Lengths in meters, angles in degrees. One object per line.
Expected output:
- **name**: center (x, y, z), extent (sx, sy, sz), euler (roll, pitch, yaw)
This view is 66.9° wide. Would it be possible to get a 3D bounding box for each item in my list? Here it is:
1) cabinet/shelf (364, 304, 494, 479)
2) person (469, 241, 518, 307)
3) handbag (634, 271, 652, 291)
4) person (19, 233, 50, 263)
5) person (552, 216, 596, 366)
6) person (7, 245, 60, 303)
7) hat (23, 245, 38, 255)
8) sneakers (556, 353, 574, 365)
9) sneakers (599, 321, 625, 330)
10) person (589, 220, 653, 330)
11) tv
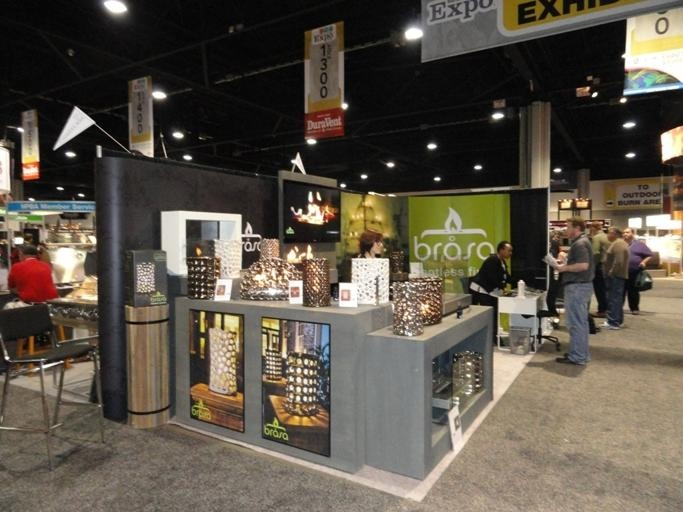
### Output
- **cabinet/shelf**: center (0.717, 1.202, 4.487), extent (0.388, 0.771, 1.376), euler (0, -1, 29)
- **person**: center (2.177, 0.200, 7.519), extent (0.519, 0.870, 0.766), euler (7, 16, 27)
- **handbag**: center (5.403, 0.441, 9.313), extent (0.199, 0.432, 0.436), euler (2, 4, 45)
- **person**: center (-4.709, -0.138, 7.956), extent (0.227, 0.280, 0.906), euler (21, 6, -35)
- **person**: center (2.956, 0.457, 6.579), extent (0.515, 1.869, 0.510), euler (7, 16, 27)
- **person**: center (-3.920, 0.223, 6.644), extent (0.721, 0.672, 0.424), euler (7, 16, 26)
- **hat**: center (-4.014, -0.077, 6.682), extent (0.102, 0.127, 0.128), euler (8, 44, -28)
- **sneakers**: center (2.872, 1.340, 6.699), extent (0.084, 0.101, 0.228), euler (2, -1, -31)
- **sneakers**: center (4.475, 1.157, 8.572), extent (0.376, 0.180, 0.153), euler (4, 1, 19)
- **person**: center (4.654, 0.350, 8.783), extent (0.405, 1.642, 1.113), euler (7, 16, 28)
- **tv**: center (-0.445, -0.635, 7.173), extent (0.092, 0.599, 0.918), euler (5, 8, 30)
